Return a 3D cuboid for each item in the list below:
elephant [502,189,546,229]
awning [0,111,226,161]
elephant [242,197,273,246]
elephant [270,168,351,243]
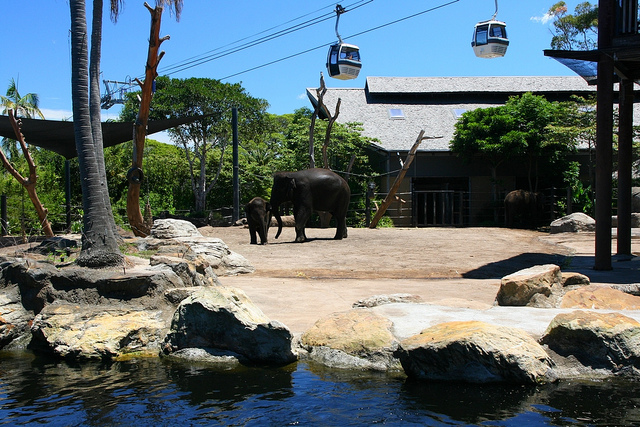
[{"bbox_3d":[9.036,-0.290,26.292,2.432,1.427,0.827,-4,5,-23],"label":"elephant"},{"bbox_3d":[-7.345,-2.338,19.017,4.917,1.224,3.877,-2,3,-16],"label":"awning"},{"bbox_3d":[-1.783,0.199,17.453,0.750,1.303,1.557,-1,3,-5],"label":"elephant"},{"bbox_3d":[-0.231,-0.295,18.487,2.444,2.157,1.285,-3,4,-35],"label":"elephant"}]
